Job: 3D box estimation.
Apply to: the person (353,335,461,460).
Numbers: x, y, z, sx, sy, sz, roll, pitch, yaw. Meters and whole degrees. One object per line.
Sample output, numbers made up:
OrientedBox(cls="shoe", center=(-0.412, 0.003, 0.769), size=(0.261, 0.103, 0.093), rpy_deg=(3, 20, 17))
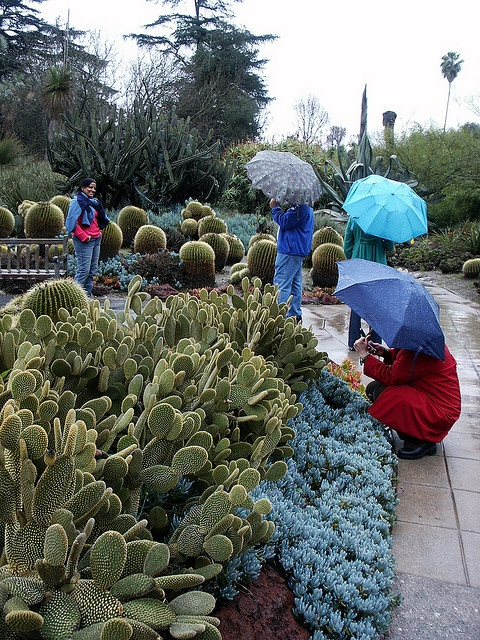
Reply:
OrientedBox(cls="person", center=(1.241, 0.424, 3.564), size=(0.729, 1.096, 0.572), rpy_deg=(9, 20, 40))

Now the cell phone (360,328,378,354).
OrientedBox(cls="cell phone", center=(1.092, 0.183, 4.112), size=(0.130, 0.176, 0.057), rpy_deg=(-16, -12, 4))

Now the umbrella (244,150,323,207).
OrientedBox(cls="umbrella", center=(0.542, -1.678, 5.812), size=(0.905, 0.587, 0.707), rpy_deg=(7, 12, -1))

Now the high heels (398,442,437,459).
OrientedBox(cls="high heels", center=(1.231, 0.913, 3.456), size=(0.284, 0.153, 0.111), rpy_deg=(6, 3, -10))

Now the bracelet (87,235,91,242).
OrientedBox(cls="bracelet", center=(-2.312, -1.231, 7.481), size=(0.064, 0.067, 0.068), rpy_deg=(19, 28, 23))

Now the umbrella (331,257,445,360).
OrientedBox(cls="umbrella", center=(1.021, -0.096, 3.440), size=(0.509, 0.523, 0.912), rpy_deg=(0, 14, -28))

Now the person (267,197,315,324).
OrientedBox(cls="person", center=(0.584, -0.780, 5.961), size=(0.531, 1.256, 0.328), rpy_deg=(6, 11, -1))

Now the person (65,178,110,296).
OrientedBox(cls="person", center=(-2.407, -1.233, 7.563), size=(0.501, 1.858, 0.941), rpy_deg=(5, 12, -4))

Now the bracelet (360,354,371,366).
OrientedBox(cls="bracelet", center=(0.924, 0.304, 3.620), size=(0.047, 0.083, 0.071), rpy_deg=(38, 22, 25))
